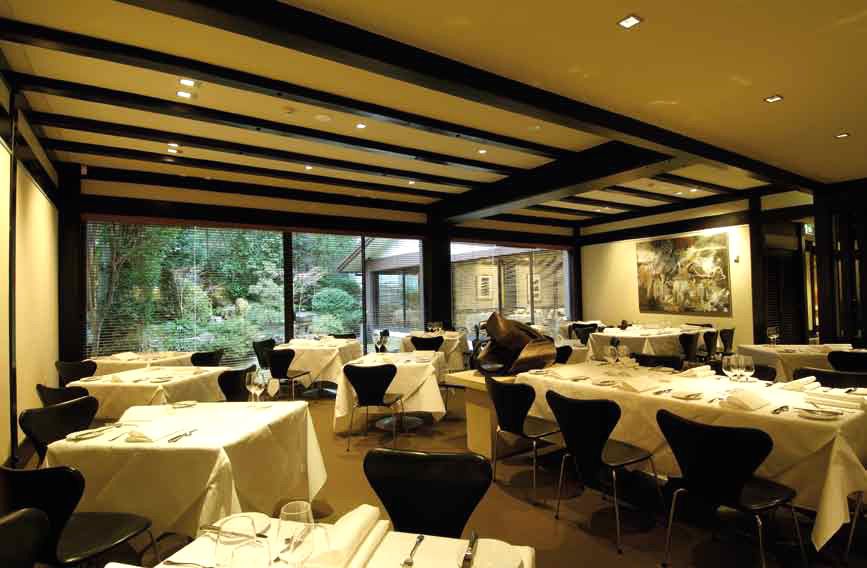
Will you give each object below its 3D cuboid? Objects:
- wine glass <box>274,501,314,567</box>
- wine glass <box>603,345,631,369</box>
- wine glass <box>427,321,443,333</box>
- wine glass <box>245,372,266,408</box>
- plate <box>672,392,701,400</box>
[{"bbox_3d":[-0.784,1.456,3.443,0.237,0.375,0.156,3,14,19],"label":"wine glass"},{"bbox_3d":[1.832,0.728,5.901,0.259,0.220,0.249,-2,3,-8],"label":"wine glass"},{"bbox_3d":[0.073,0.723,9.873,0.231,0.200,0.214,4,-6,-34],"label":"wine glass"},{"bbox_3d":[-1.542,0.901,5.193,0.146,0.337,0.311,-5,13,-15],"label":"wine glass"},{"bbox_3d":[2.150,0.949,4.982,0.230,0.031,0.123,2,11,14],"label":"plate"}]
